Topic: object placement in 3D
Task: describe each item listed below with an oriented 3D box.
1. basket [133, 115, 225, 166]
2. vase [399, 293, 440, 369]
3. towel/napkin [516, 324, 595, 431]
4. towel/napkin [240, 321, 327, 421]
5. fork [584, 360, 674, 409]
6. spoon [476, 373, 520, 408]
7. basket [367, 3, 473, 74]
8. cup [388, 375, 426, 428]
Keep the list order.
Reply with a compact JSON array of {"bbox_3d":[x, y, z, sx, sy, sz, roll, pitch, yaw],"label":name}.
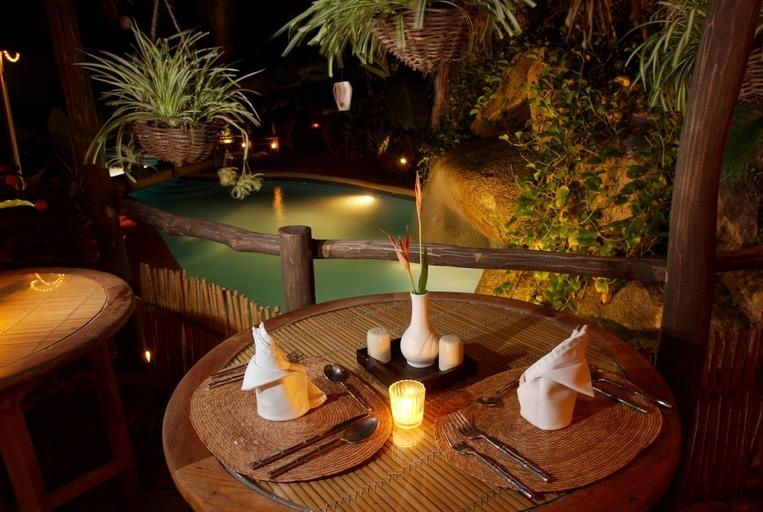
[{"bbox_3d":[-1.142,-0.633,2.557,0.453,0.270,0.244,-8,24,-12],"label":"basket"},{"bbox_3d":[0.141,0.320,1.952,0.189,0.309,0.188,3,-2,0],"label":"vase"},{"bbox_3d":[0.651,0.465,1.743,0.268,0.374,0.295,8,17,42],"label":"towel/napkin"},{"bbox_3d":[-0.391,0.455,1.781,0.335,0.326,0.228,-6,7,-25],"label":"towel/napkin"},{"bbox_3d":[0.955,0.522,1.821,0.329,0.030,0.100,17,27,41],"label":"fork"},{"bbox_3d":[0.460,0.549,1.810,0.067,0.042,0.320,9,17,35],"label":"spoon"},{"bbox_3d":[0.175,-0.980,2.071,0.425,0.256,0.272,-3,23,0],"label":"basket"},{"bbox_3d":[0.093,0.572,1.786,0.155,0.131,0.170,0,5,0],"label":"cup"}]
